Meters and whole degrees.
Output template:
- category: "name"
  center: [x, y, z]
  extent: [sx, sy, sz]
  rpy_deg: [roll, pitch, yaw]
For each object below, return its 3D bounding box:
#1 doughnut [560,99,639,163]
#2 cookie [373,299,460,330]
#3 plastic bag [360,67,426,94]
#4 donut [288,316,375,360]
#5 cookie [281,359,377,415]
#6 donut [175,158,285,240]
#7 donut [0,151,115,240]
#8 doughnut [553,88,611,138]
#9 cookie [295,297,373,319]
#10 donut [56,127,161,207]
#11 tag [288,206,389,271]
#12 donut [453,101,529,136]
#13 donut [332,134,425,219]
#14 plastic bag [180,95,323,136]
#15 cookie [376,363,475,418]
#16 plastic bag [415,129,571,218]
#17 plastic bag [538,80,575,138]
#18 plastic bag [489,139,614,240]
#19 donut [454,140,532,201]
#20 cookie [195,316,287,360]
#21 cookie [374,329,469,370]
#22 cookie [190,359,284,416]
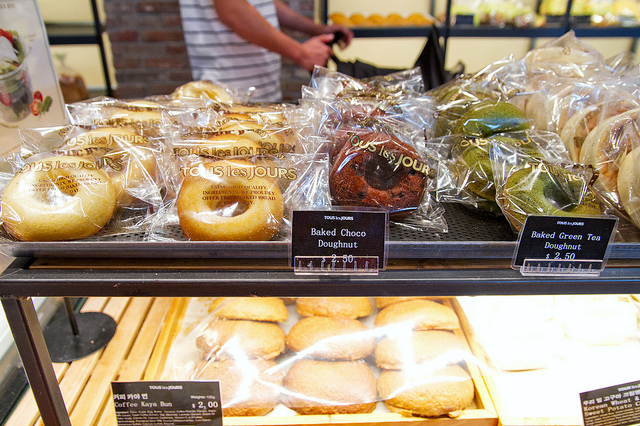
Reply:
- category: "doughnut"
  center: [0.744, -0.214, 1.242]
  extent: [0.167, 0.038, 0.165]
  rpy_deg: [2, 48, 35]
- category: "cookie"
  center: [0.275, 0.292, 1.352]
  extent: [0.212, 0.074, 0.233]
  rpy_deg: [-5, -4, 35]
- category: "plastic bag"
  center: [0.256, -0.450, 1.598]
  extent: [0.178, 0.055, 0.135]
  rpy_deg: [30, 53, 26]
- category: "donut"
  center: [0.040, 0.335, 1.250]
  extent: [0.165, 0.053, 0.123]
  rpy_deg: [1, 27, -1]
- category: "cookie"
  center: [0.080, 0.472, 1.297]
  extent: [0.300, 0.094, 0.209]
  rpy_deg: [-19, -6, 20]
- category: "donut"
  center: [-0.207, -0.035, 1.094]
  extent: [0.251, 0.155, 0.181]
  rpy_deg: [-10, 28, -16]
- category: "donut"
  center: [-0.597, -0.009, 1.078]
  extent: [0.211, 0.075, 0.203]
  rpy_deg: [16, 53, -2]
- category: "doughnut"
  center: [0.739, -0.293, 1.320]
  extent: [0.131, 0.130, 0.043]
  rpy_deg: [14, -9, 17]
- category: "cookie"
  center: [0.045, 0.255, 1.295]
  extent: [0.113, 0.029, 0.107]
  rpy_deg: [-1, 12, -14]
- category: "donut"
  center: [-0.539, -0.114, 1.246]
  extent: [0.214, 0.073, 0.216]
  rpy_deg: [41, 44, 12]
- category: "tag"
  center: [0.057, 0.072, 1.036]
  extent: [0.231, 0.148, 0.053]
  rpy_deg: [-5, -23, 39]
- category: "donut"
  center: [0.464, -0.246, 1.295]
  extent: [0.150, 0.085, 0.110]
  rpy_deg: [-5, -1, -21]
- category: "donut"
  center: [0.129, -0.078, 1.112]
  extent: [0.163, 0.176, 0.195]
  rpy_deg: [23, 36, 39]
- category: "plastic bag"
  center: [-0.259, -0.281, 1.397]
  extent: [0.444, 0.126, 0.073]
  rpy_deg: [4, 29, 31]
- category: "cookie"
  center: [0.280, 0.461, 1.237]
  extent: [0.191, 0.055, 0.144]
  rpy_deg: [5, 29, 11]
- category: "plastic bag"
  center: [0.434, -0.118, 1.221]
  extent: [0.296, 0.090, 0.291]
  rpy_deg: [8, 43, 8]
- category: "plastic bag"
  center: [0.685, -0.301, 1.362]
  extent: [0.059, 0.156, 0.128]
  rpy_deg: [1, 12, 18]
- category: "plastic bag"
  center: [0.553, -0.047, 1.127]
  extent: [0.231, 0.061, 0.222]
  rpy_deg: [9, 44, -9]
- category: "donut"
  center: [0.433, -0.115, 1.180]
  extent: [0.159, 0.059, 0.151]
  rpy_deg: [5, 65, 21]
- category: "cookie"
  center: [-0.217, 0.341, 1.318]
  extent: [0.258, 0.075, 0.177]
  rpy_deg: [-1, 13, 6]
- category: "cookie"
  center: [0.273, 0.344, 1.246]
  extent: [0.175, 0.053, 0.124]
  rpy_deg: [-1, 3, -2]
- category: "cookie"
  center: [-0.205, 0.447, 1.175]
  extent: [0.222, 0.129, 0.064]
  rpy_deg: [2, -1, -9]
